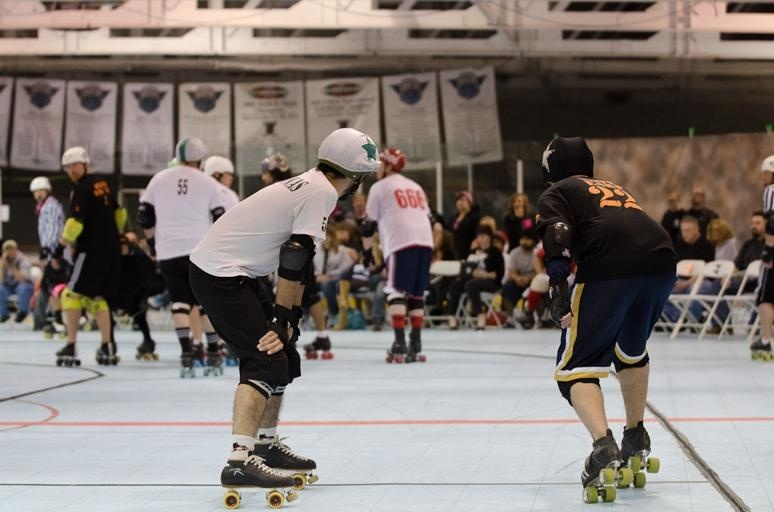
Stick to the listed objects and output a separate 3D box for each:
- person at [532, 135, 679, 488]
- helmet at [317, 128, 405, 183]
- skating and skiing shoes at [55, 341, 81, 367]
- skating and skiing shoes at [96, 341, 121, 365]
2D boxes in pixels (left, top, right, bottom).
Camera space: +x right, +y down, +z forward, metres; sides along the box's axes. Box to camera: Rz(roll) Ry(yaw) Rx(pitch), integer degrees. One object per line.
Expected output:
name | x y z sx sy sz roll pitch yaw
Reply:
person | 1.775 0.325 8.119 1.226 2.304 1.002 0 1 9
helmet | -0.273 -0.825 7.969 0.441 0.373 0.355 24 -9 -21
skating and skiing shoes | -3.971 1.212 12.462 0.273 0.304 0.232 -1 4 -17
skating and skiing shoes | -3.492 1.207 12.548 0.276 0.294 0.189 -1 4 -17
